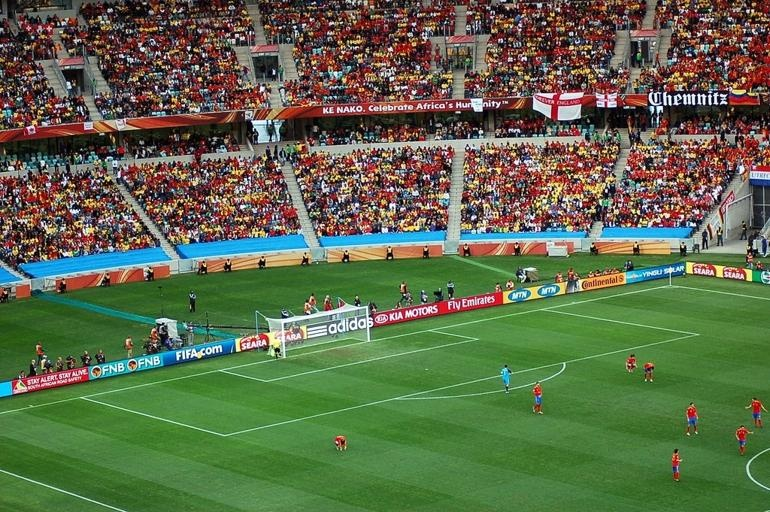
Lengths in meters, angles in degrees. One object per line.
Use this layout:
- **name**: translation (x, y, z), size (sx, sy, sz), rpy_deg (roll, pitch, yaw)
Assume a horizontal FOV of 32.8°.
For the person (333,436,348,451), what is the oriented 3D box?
- **person**: translation (-3.014, 12.826, 88.637), size (0.903, 1.014, 0.571), rpy_deg (4, 14, 4)
